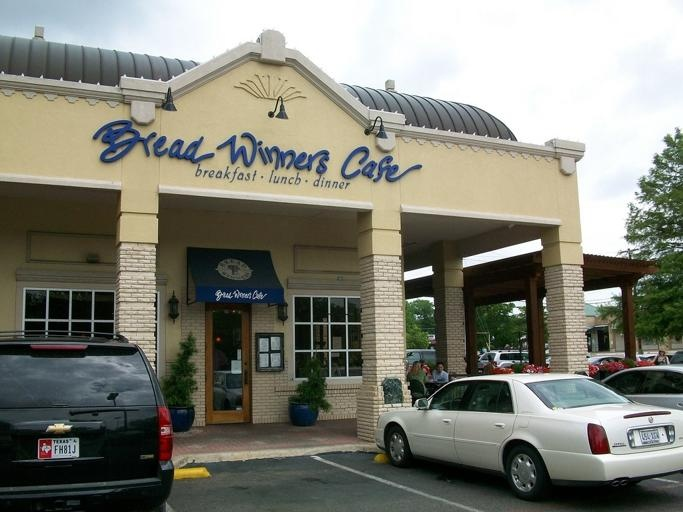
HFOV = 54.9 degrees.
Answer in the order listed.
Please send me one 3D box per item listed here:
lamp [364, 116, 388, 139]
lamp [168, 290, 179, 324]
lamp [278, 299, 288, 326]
[{"bbox_3d":[0.861,-3.090,15.937,0.638,0.545,0.358,-2,-3,44],"label":"lamp"},{"bbox_3d":[-4.410,1.326,17.233,0.289,0.814,0.409,0,-5,-11],"label":"lamp"},{"bbox_3d":[-1.661,1.606,18.353,0.278,0.596,0.566,0,-5,-3],"label":"lamp"}]
